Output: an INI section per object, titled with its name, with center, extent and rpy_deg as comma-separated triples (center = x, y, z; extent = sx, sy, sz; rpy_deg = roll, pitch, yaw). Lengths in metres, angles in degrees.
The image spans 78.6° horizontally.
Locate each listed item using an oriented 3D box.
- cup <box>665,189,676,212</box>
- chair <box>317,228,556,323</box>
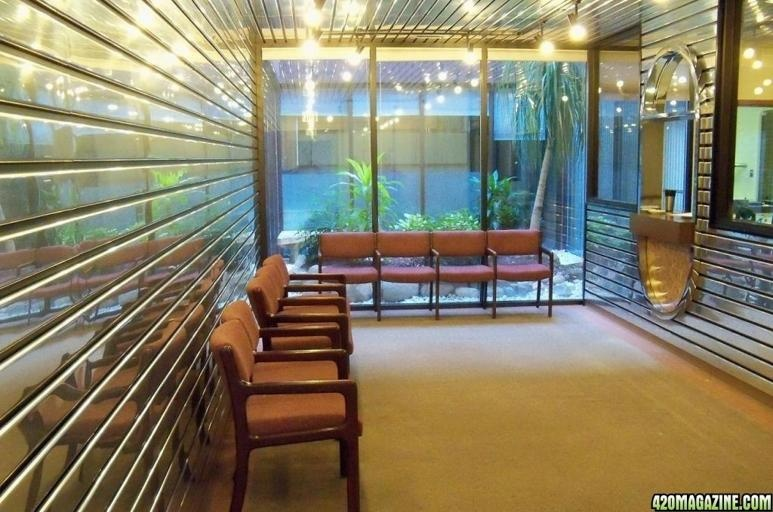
[cup]
center = 3.244, -0.635, 5.460
extent = 0.107, 0.257, 0.199
rpy_deg = 5, 12, 29
[chair]
center = 0.717, 0.251, 6.693
extent = 3.187, 1.169, 0.890
rpy_deg = -1, 11, -4
